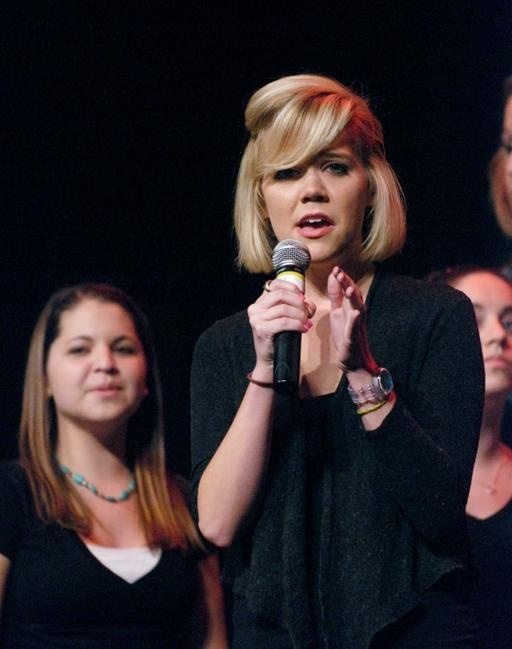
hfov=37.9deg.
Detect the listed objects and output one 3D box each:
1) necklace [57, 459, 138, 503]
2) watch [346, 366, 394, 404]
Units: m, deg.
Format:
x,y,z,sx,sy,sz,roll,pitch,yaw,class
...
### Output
x,y,z,sx,sy,sz,roll,pitch,yaw,class
-0.429,0.439,2.013,0.146,0.026,0.125,28,1,6,necklace
0.210,0.112,1.357,0.074,0.054,0.042,-19,20,42,watch
